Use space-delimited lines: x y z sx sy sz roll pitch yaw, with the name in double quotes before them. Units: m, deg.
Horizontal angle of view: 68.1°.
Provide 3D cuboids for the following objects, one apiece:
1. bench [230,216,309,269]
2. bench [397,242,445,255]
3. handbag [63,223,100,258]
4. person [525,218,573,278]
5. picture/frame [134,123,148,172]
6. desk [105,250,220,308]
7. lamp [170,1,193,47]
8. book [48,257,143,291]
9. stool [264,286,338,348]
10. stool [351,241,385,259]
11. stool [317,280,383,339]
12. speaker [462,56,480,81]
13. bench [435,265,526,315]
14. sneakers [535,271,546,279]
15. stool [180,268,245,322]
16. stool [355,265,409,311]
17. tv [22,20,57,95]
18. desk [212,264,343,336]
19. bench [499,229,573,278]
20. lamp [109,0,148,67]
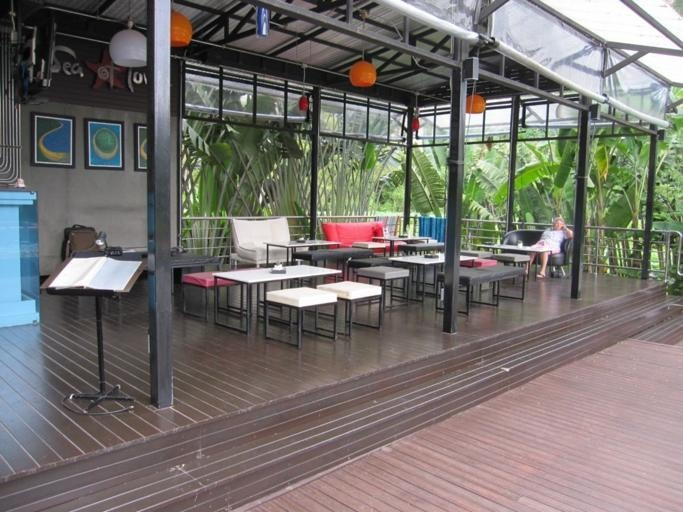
"bench" -1.332 -0.255 9.574 1.326 0.657 0.944 -9 25 -42
"bench" 1.605 -0.142 10.381 0.498 0.260 1.019 11 13 44
"handbag" -4.252 -0.225 8.323 0.536 0.573 0.527 -8 14 -42
"person" 4.180 -0.214 10.181 0.953 1.151 0.636 -18 29 -31
"picture/frame" -3.631 -1.973 9.153 0.195 0.853 0.266 0 12 -10
"desk" -2.346 0.350 6.842 0.975 0.361 1.365 -2 6 -42
"lamp" -1.984 -2.848 6.267 0.236 0.455 0.350 -1 11 -17
"book" -1.912 0.135 3.948 0.488 0.045 0.359 5 23 1
"stool" -0.436 0.660 5.718 0.782 0.546 0.688 -6 12 -43
"stool" 0.610 -0.205 10.419 0.387 0.234 0.541 -5 10 -29
"stool" 0.177 0.619 6.172 0.752 0.570 0.666 -7 13 -38
"speaker" 1.504 -2.176 5.850 0.194 0.264 0.302 4 10 11
"bench" 2.097 0.455 7.505 1.537 0.442 0.538 -5 7 -43
"sneakers" 3.957 0.376 10.052 0.173 0.050 0.165 3 7 32
"stool" -1.653 0.490 6.792 0.662 0.496 0.518 -3 6 -42
"stool" 0.583 0.386 7.131 0.504 0.336 0.557 -3 7 -42
"tv" -4.041 -2.685 6.837 0.339 0.788 1.021 7 -2 -41
"desk" -0.414 0.497 6.317 0.660 0.572 1.226 7 8 -21
"bench" 4.240 -0.135 10.835 1.272 0.660 0.719 5 23 26
"lamp" -2.924 -2.966 6.909 0.424 0.778 1.399 -3 11 -23
